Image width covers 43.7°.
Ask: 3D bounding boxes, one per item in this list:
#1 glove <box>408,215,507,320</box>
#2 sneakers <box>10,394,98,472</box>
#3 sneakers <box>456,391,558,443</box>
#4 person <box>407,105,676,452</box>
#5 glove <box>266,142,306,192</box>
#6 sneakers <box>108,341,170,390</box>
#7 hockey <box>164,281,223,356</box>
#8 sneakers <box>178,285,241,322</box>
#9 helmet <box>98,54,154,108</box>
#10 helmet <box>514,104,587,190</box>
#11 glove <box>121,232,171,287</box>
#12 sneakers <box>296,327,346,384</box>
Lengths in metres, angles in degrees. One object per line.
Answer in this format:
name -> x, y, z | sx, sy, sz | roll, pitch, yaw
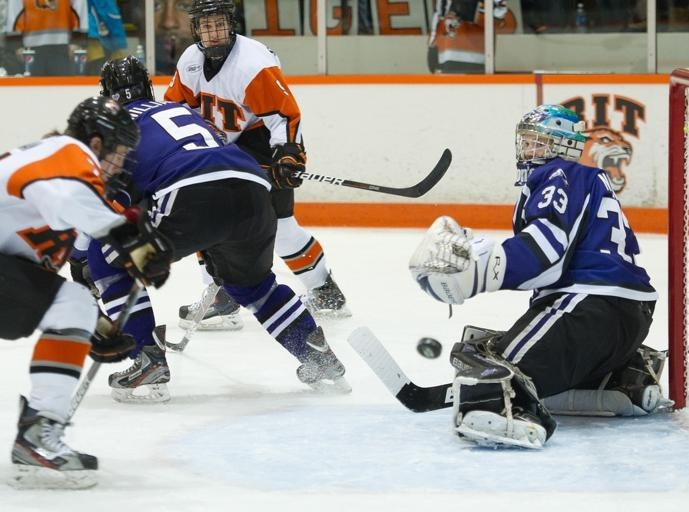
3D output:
glove -> 0.415, 0.013, 2.935 | 0.392, 0.244, 0.158 | 19, -34, 2
sneakers -> -0.831, 0.527, 2.533 | 0.322, 0.190, 0.104 | 5, -3, 23
sneakers -> 0.517, 0.535, 2.800 | 0.290, 0.132, 0.167 | 13, -32, -3
person -> 0.705, -0.038, 3.412 | 1.157, 1.209, 1.463 | 0, -1, 19
glove -> -0.274, -0.414, 4.026 | 0.187, 0.198, 0.096 | 1, -9, 1
sneakers -> -0.776, 0.423, 3.290 | 0.299, 0.164, 0.092 | -12, -10, 18
hockey -> -0.674, 0.283, 3.903 | 0.102, 0.303, 0.320 | 31, -9, -4
sneakers -> -0.679, 0.246, 4.368 | 0.406, 0.226, 0.128 | -4, 0, 26
helmet -> -0.856, -0.681, 3.375 | 0.195, 0.177, 0.224 | -12, 4, -3
helmet -> 0.769, -0.396, 3.175 | 0.254, 0.220, 0.199 | -1, -1, -10
glove -> -0.619, 0.000, 2.668 | 0.142, 0.066, 0.176 | -21, -34, -4
sneakers -> -0.100, 0.392, 3.361 | 0.199, 0.209, 0.093 | -9, 8, -6
